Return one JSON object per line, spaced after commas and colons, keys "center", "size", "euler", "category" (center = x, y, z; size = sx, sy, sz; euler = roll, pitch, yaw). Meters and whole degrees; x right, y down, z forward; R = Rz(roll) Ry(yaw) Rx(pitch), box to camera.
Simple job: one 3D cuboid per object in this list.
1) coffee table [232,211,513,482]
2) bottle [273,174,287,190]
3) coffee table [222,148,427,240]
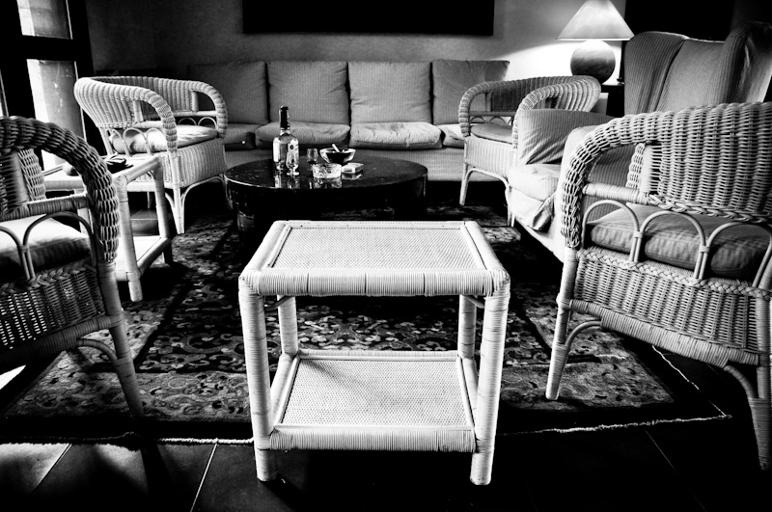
{"center": [-0.066, 0.391, 1.897], "size": [1.038, 0.878, 0.759], "euler": [0, 27, 3], "category": "coffee table"}
{"center": [-0.516, -0.355, 2.606], "size": [0.058, 0.054, 0.102], "euler": [0, 10, -8], "category": "bottle"}
{"center": [-0.304, -0.316, 2.622], "size": [0.605, 0.208, 0.573], "euler": [-1, 25, -2], "category": "coffee table"}
